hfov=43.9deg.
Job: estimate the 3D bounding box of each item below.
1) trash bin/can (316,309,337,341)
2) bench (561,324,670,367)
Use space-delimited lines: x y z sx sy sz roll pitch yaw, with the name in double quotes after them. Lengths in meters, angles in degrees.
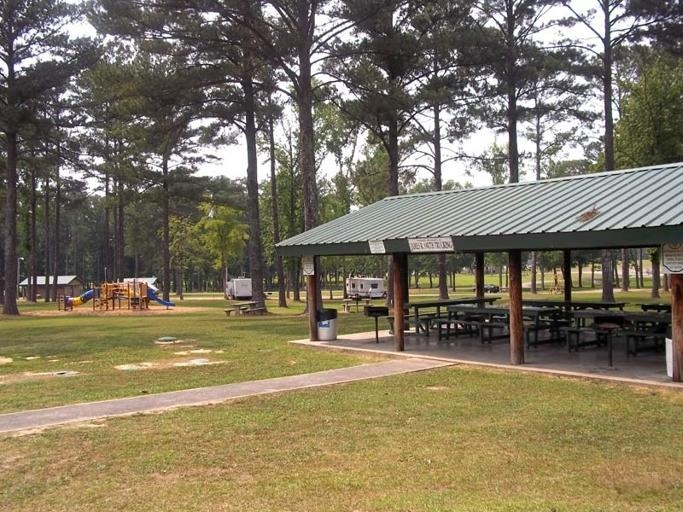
-0.532 2.279 28.891 0.629 1.124 0.720 0 7 14 "trash bin/can"
8.165 2.725 25.029 1.737 0.467 1.773 -4 2 -26 "bench"
